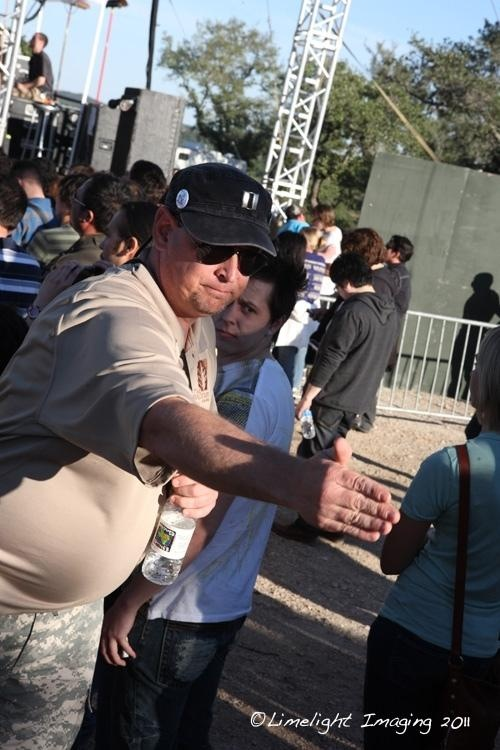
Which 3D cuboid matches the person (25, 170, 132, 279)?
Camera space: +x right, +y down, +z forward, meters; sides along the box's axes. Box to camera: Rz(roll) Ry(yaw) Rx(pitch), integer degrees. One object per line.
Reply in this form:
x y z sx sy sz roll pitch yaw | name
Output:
-1.131 -0.988 4.286 0.360 0.666 0.717 12 32 1 | person

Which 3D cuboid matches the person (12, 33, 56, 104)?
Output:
-5.592 -7.899 15.838 1.168 1.640 1.026 0 23 -16 | person

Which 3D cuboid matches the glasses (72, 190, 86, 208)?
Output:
-1.161 -1.203 4.229 0.038 0.120 0.122 16 7 -17 | glasses
